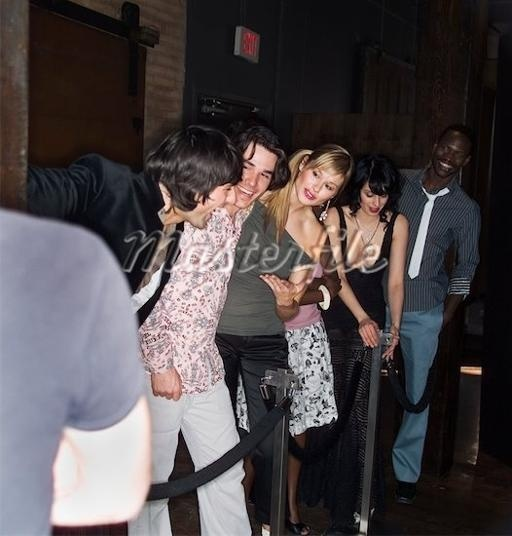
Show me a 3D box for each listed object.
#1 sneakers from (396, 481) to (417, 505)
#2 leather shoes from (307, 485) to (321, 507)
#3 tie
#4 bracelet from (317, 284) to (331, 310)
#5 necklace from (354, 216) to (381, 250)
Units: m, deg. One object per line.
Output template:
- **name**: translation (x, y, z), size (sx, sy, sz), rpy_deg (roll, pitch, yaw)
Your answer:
- **sneakers**: translation (0.706, 1.060, 2.332), size (0.046, 0.110, 0.153), rpy_deg (-2, -23, 12)
- **leather shoes**: translation (0.247, 0.978, 2.133), size (0.031, 0.054, 0.154), rpy_deg (22, -11, -5)
- **tie**: translation (0.741, -0.149, 2.171), size (0.155, 0.437, 0.026), rpy_deg (10, 4, 6)
- **bracelet**: translation (0.260, 0.114, 1.905), size (0.021, 0.084, 0.058), rpy_deg (-4, 7, -22)
- **necklace**: translation (0.460, -0.147, 2.056), size (0.086, 0.140, 0.032), rpy_deg (2, 7, -9)
